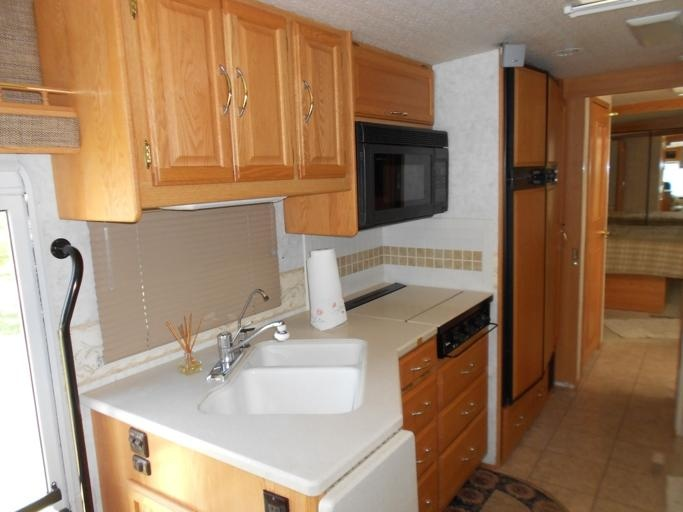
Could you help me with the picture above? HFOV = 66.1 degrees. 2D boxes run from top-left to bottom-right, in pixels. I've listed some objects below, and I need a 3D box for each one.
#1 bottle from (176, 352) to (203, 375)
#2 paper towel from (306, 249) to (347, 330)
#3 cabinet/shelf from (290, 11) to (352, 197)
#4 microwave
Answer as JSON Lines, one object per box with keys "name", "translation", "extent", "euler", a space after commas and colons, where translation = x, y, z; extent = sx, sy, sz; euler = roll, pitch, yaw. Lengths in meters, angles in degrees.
{"name": "bottle", "translation": [-0.660, 0.465, 2.299], "extent": [0.092, 0.090, 0.089], "euler": [0, 2, 43]}
{"name": "paper towel", "translation": [-0.081, 0.167, 2.718], "extent": [0.199, 0.392, 0.200], "euler": [-3, 12, 0]}
{"name": "cabinet/shelf", "translation": [-0.073, -0.686, 2.425], "extent": [0.106, 0.767, 0.424], "euler": [5, 15, 33]}
{"name": "microwave", "translation": [0.316, -0.460, 2.832], "extent": [0.348, 0.420, 0.653], "euler": [5, 12, 32]}
